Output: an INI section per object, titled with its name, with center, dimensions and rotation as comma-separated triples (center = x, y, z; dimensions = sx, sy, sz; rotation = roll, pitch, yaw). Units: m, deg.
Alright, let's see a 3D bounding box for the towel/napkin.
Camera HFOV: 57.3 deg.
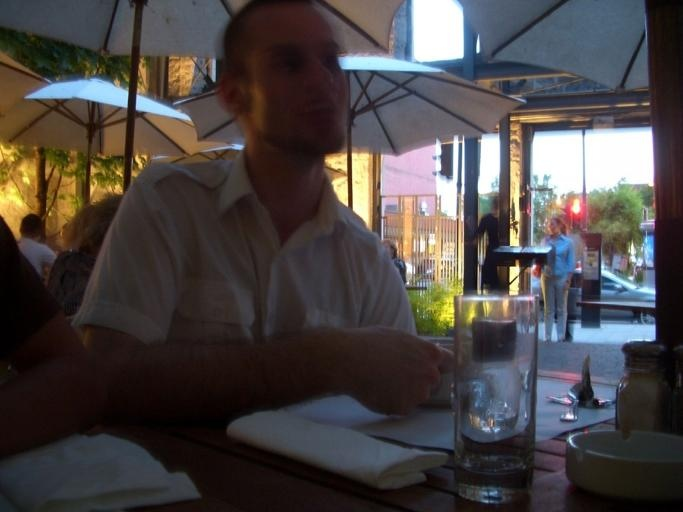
[towel/napkin]
center = -0.019, 0.348, 1.159
dimensions = 0.272, 0.062, 0.158
rotation = 9, 2, 34
